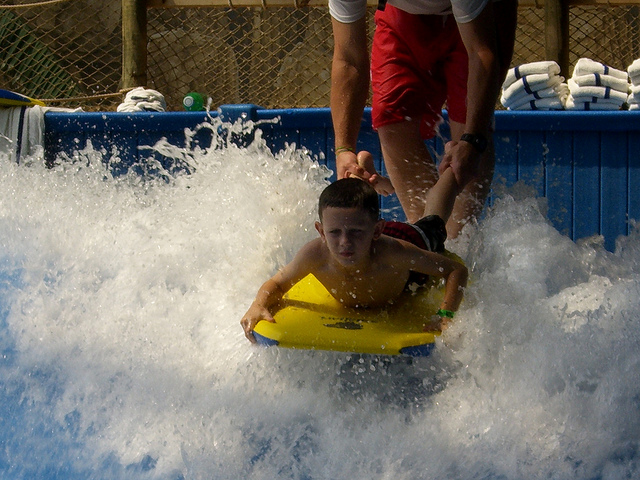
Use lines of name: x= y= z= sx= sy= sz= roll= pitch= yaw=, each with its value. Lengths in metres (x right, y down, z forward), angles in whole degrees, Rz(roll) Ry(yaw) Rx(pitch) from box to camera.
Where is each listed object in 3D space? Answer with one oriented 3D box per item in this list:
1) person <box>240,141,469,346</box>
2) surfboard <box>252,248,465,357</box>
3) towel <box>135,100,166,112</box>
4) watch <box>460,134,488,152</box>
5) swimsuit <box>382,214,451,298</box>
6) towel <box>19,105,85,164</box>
person: x=0.283 y=-0.046 z=4.915 sx=0.853 sy=0.841 sz=1.732 roll=-1 pitch=18 yaw=17
surfboard: x=0.124 y=0.375 z=4.698 sx=0.828 sy=0.261 sz=1.557 roll=3 pitch=10 yaw=7
towel: x=-1.036 y=-0.797 z=5.866 sx=0.188 sy=0.063 sz=0.102 roll=-3 pitch=46 yaw=-26
watch: x=0.718 y=-0.451 z=4.431 sx=0.094 sy=0.080 sz=0.103 roll=15 pitch=0 yaw=37
swimsuit: x=0.362 y=0.056 z=4.538 sx=0.360 sy=0.244 sz=0.503 roll=-9 pitch=4 yaw=37
towel: x=-1.726 y=-0.674 z=5.947 sx=0.248 sy=0.370 sz=0.228 roll=1 pitch=5 yaw=-26
